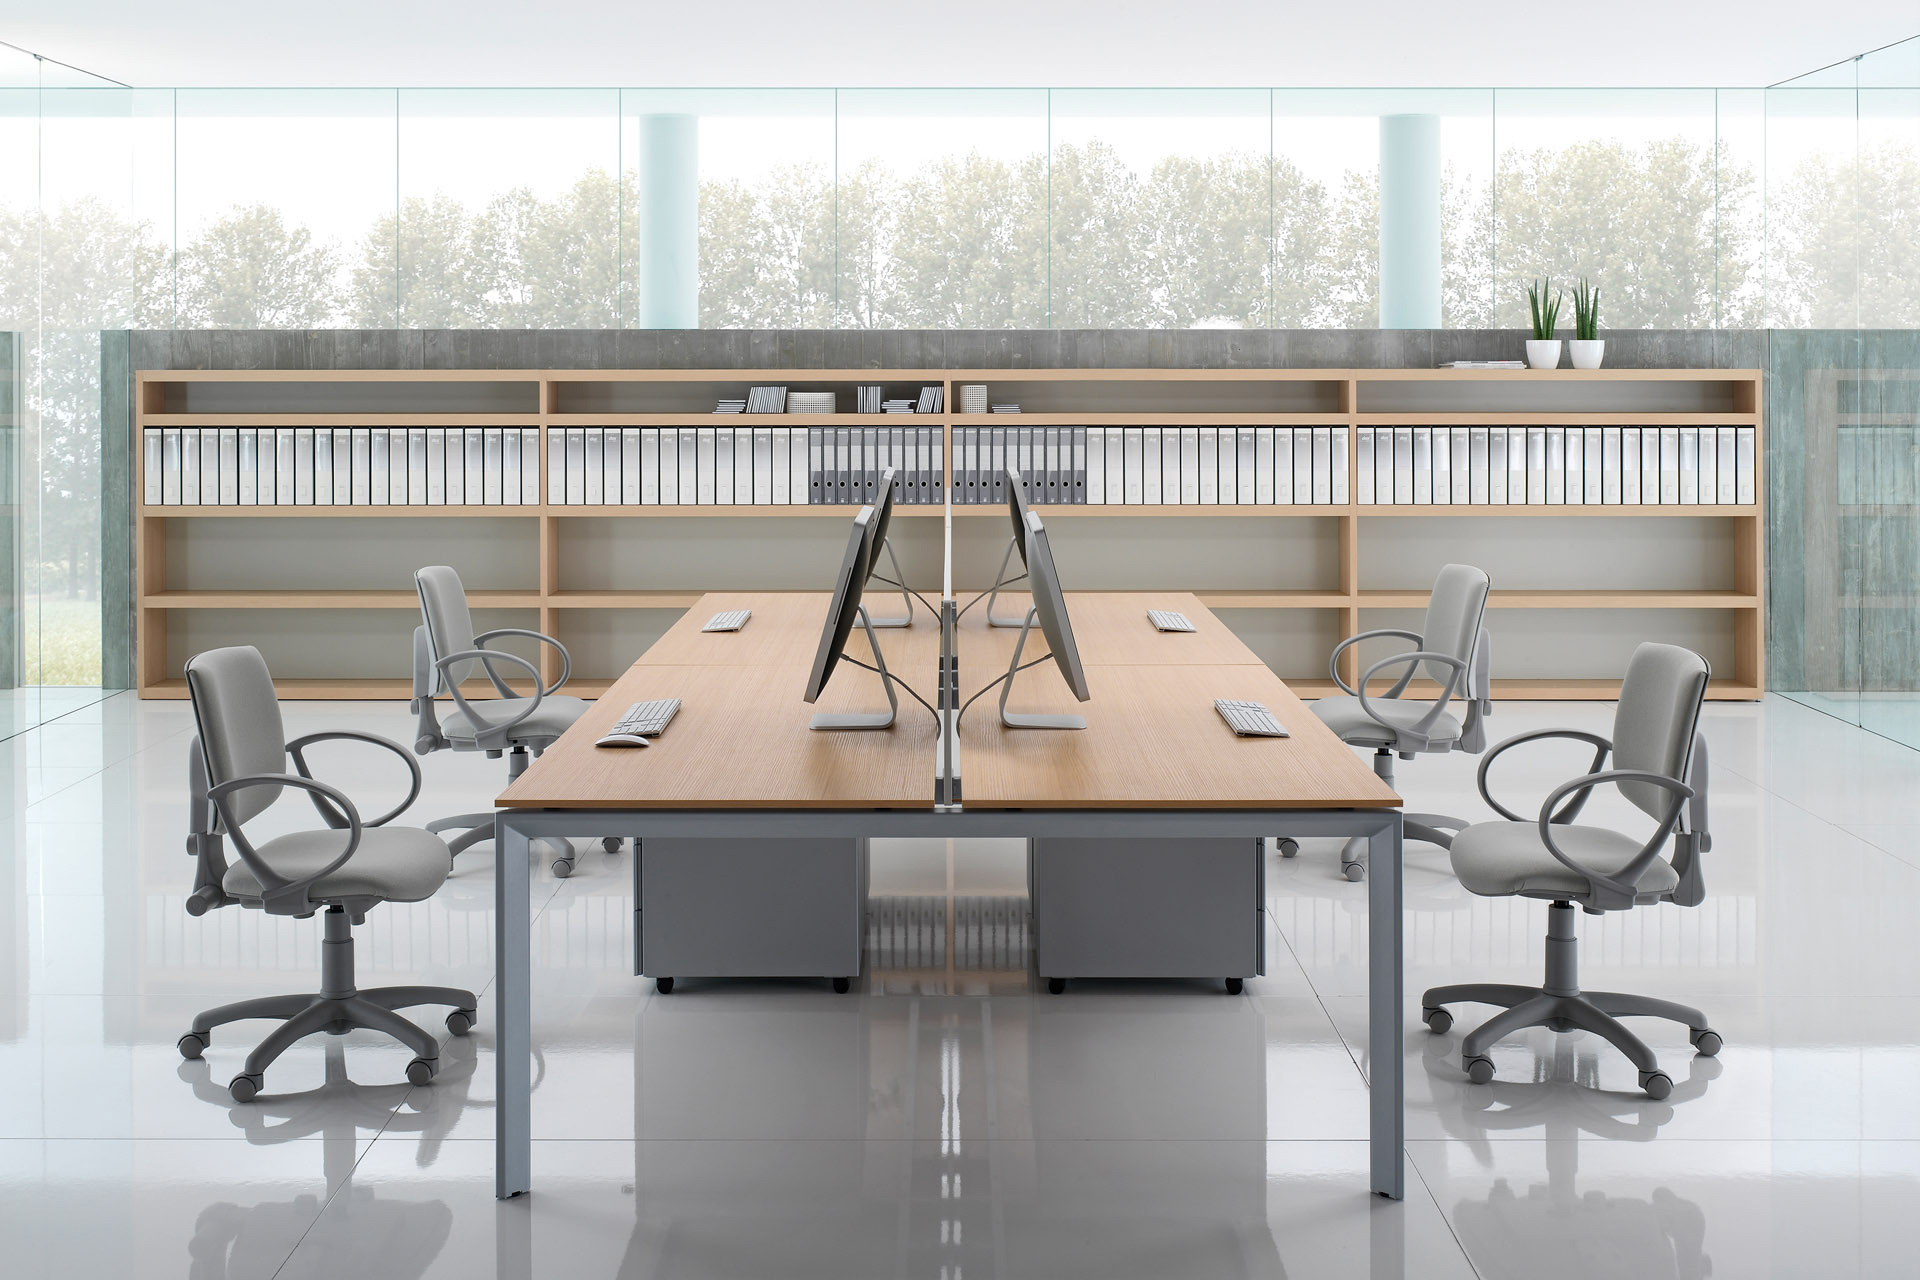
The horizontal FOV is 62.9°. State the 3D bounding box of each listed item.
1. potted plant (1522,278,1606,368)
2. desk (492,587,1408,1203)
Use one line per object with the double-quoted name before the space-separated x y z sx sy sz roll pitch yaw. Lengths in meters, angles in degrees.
"potted plant" 3.763 -1.961 9.766 0.476 0.562 0.687 3 9 18
"desk" 0.003 0.774 5.612 2.660 1.300 2.466 0 9 0
